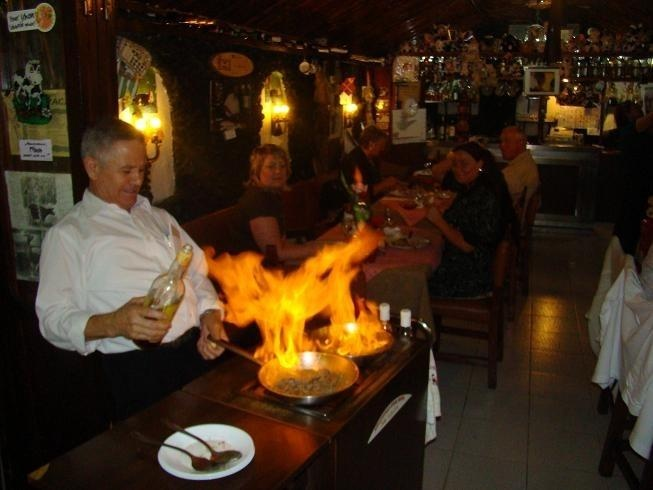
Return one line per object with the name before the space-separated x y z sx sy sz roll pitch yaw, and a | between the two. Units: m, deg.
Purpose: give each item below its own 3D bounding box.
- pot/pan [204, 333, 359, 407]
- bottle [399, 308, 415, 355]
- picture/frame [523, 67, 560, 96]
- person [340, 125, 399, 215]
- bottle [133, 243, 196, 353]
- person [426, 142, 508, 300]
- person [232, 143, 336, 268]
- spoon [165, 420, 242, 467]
pot/pan | -0.097 0.453 2.081 0.471 0.069 0.290 10 16 28
bottle | 0.394 0.395 2.473 0.063 0.139 0.218 2 14 9
picture/frame | 3.550 -2.721 8.166 0.547 0.488 0.299 14 45 36
person | 0.527 -0.831 6.489 0.728 1.370 0.698 2 4 30
bottle | -0.722 0.231 2.194 0.182 0.614 0.181 27 25 -14
person | 1.216 -0.201 4.219 0.677 1.280 0.562 3 14 15
person | -0.420 -0.337 3.947 0.454 0.877 0.678 -11 17 -36
spoon | -0.448 0.703 1.773 0.344 0.053 0.103 22 19 30
